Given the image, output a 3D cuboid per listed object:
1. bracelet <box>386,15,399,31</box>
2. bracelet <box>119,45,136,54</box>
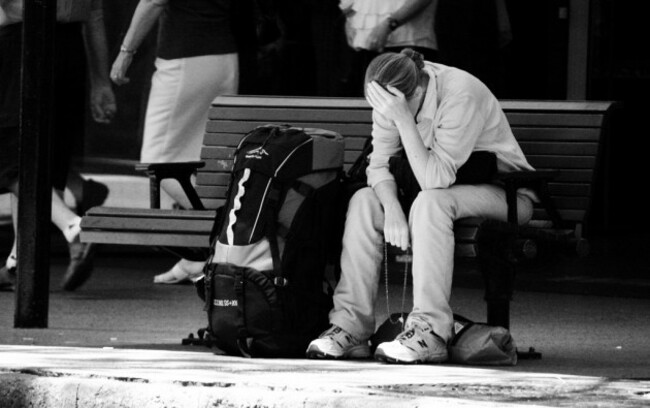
[{"bbox_3d":[0.563,-1.524,9.213,0.137,0.098,0.089,-2,2,23],"label":"bracelet"},{"bbox_3d":[-1.654,-1.296,9.164,0.117,0.035,0.083,0,-1,34],"label":"bracelet"}]
